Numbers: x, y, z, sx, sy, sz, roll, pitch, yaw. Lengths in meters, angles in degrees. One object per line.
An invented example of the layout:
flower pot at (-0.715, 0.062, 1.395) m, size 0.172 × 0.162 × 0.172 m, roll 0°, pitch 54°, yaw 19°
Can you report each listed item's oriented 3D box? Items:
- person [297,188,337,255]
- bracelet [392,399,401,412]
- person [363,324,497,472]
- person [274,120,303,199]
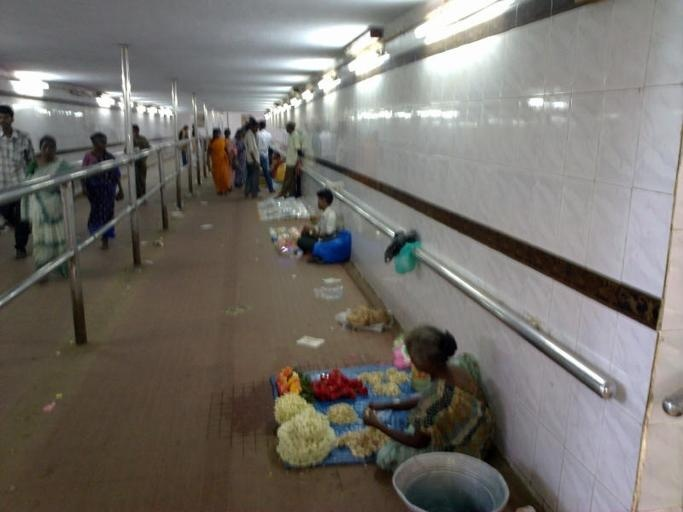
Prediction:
person at (-0.429, -0.521, 7.368) m, size 0.654 × 1.258 × 0.717 m, roll 12°, pitch 25°, yaw 16°
bracelet at (0.421, 1.145, 3.348) m, size 0.072 × 0.086 × 0.076 m, roll -1°, pitch 1°, yaw 6°
person at (0.580, 1.001, 3.055) m, size 0.807 × 1.031 × 0.830 m, roll 7°, pitch 16°, yaw 39°
person at (-1.425, -2.623, 12.097) m, size 0.674 × 1.996 × 0.928 m, roll -4°, pitch 16°, yaw -9°
